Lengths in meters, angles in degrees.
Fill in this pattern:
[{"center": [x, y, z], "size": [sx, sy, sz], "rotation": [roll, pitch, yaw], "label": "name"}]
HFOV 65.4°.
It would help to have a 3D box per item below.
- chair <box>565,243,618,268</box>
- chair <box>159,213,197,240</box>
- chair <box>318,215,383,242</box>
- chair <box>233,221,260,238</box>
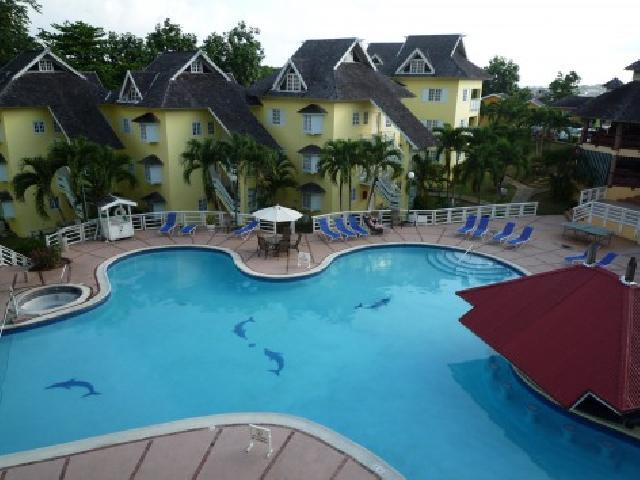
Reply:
[{"center": [14.364, 0.858, 26.345], "size": [1.971, 0.700, 1.287], "rotation": [0, 5, 12], "label": "chair"}, {"center": [-9.810, -1.071, 34.715], "size": [2.338, 1.316, 2.858], "rotation": [-2, 13, 3], "label": "chair"}, {"center": [1.626, -1.005, 34.292], "size": [3.622, 1.541, 2.502], "rotation": [-9, 14, -25], "label": "chair"}, {"center": [-4.939, -0.738, 34.397], "size": [0.734, 0.678, 2.767], "rotation": [10, 18, 11], "label": "chair"}]
